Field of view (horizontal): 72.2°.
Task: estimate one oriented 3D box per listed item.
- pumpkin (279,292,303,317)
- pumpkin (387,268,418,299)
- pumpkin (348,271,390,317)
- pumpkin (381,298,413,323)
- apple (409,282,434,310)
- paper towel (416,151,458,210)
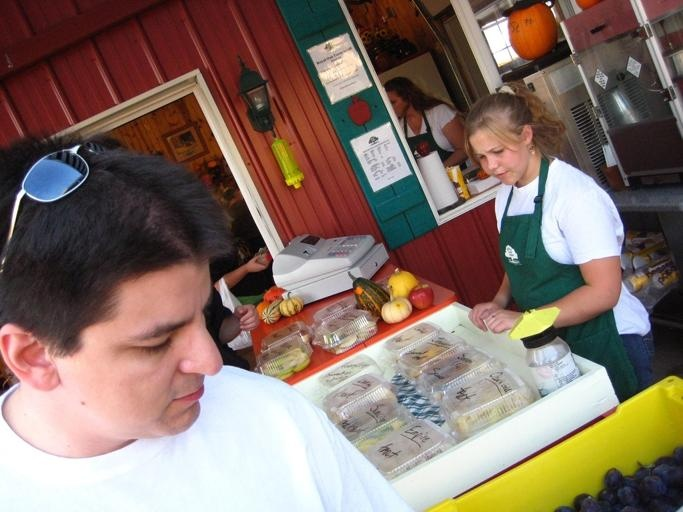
[{"bbox_3d":[-0.325,0.299,2.968,0.157,0.149,0.144,-15,7,-7],"label":"pumpkin"},{"bbox_3d":[0.297,0.138,2.381,0.143,0.163,0.135,-7,-8,-12],"label":"pumpkin"},{"bbox_3d":[0.154,0.200,2.422,0.125,0.225,0.097,-38,-25,20],"label":"pumpkin"},{"bbox_3d":[0.262,0.260,2.262,0.124,0.118,0.122,-18,6,-8],"label":"pumpkin"},{"bbox_3d":[0.376,0.194,2.266,0.111,0.142,0.114,-1,1,43],"label":"apple"},{"bbox_3d":[0.770,-0.593,3.726,0.194,0.470,0.210,-23,3,14],"label":"paper towel"}]
